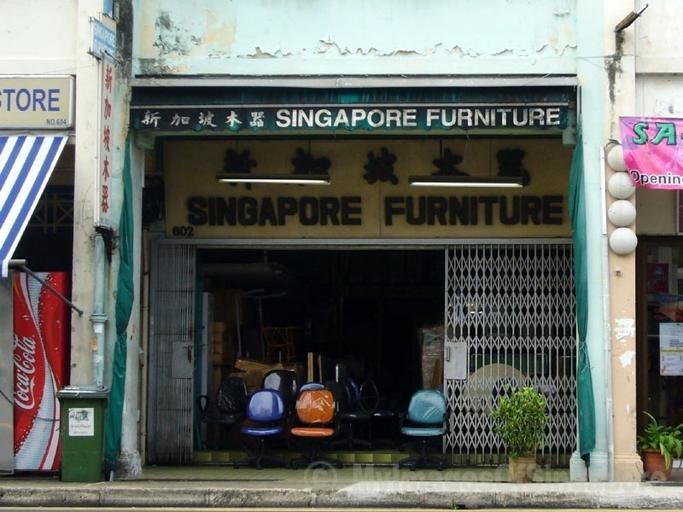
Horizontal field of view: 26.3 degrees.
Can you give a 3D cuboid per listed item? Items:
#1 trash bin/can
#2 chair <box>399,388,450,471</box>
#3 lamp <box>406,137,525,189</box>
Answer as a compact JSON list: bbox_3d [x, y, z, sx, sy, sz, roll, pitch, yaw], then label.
[{"bbox_3d":[-3.732,2.594,21.078,0.673,1.349,0.366,1,-12,-13],"label":"trash bin/can"},{"bbox_3d":[1.340,2.713,22.478,0.911,1.432,1.032,-1,-8,10],"label":"chair"},{"bbox_3d":[2.110,-1.459,22.673,2.238,0.969,0.681,1,-3,2],"label":"lamp"}]
